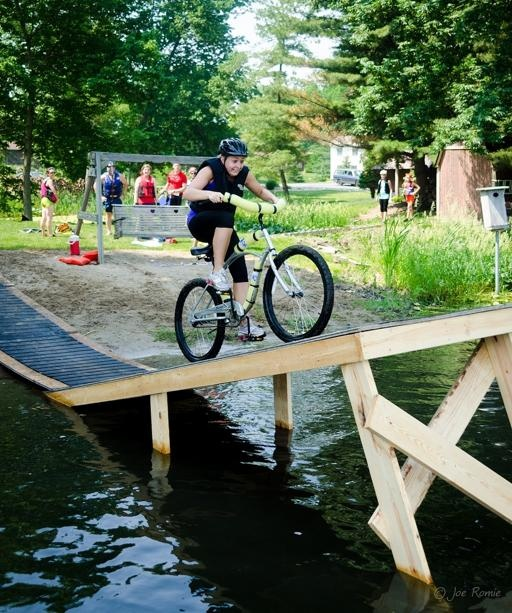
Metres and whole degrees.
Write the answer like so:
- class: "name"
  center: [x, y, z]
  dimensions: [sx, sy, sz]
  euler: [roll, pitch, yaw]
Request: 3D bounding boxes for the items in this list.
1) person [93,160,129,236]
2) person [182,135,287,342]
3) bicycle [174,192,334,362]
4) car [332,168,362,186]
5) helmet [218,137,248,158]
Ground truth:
- class: "person"
  center: [-3.270, -2.402, 15.606]
  dimensions: [0.635, 1.601, 0.968]
  euler: [11, 17, 39]
- class: "person"
  center: [-0.219, -0.574, 5.807]
  dimensions: [0.912, 1.477, 0.850]
  euler: [-3, 9, -14]
- class: "bicycle"
  center: [-0.003, -0.153, 5.583]
  dimensions: [2.055, 1.204, 0.906]
  euler: [8, 13, 44]
- class: "car"
  center: [9.415, -13.071, 70.834]
  dimensions: [1.702, 1.799, 4.112]
  euler: [-4, 9, -20]
- class: "helmet"
  center: [-0.184, -1.251, 5.488]
  dimensions: [0.205, 0.154, 0.310]
  euler: [-1, 9, -1]
